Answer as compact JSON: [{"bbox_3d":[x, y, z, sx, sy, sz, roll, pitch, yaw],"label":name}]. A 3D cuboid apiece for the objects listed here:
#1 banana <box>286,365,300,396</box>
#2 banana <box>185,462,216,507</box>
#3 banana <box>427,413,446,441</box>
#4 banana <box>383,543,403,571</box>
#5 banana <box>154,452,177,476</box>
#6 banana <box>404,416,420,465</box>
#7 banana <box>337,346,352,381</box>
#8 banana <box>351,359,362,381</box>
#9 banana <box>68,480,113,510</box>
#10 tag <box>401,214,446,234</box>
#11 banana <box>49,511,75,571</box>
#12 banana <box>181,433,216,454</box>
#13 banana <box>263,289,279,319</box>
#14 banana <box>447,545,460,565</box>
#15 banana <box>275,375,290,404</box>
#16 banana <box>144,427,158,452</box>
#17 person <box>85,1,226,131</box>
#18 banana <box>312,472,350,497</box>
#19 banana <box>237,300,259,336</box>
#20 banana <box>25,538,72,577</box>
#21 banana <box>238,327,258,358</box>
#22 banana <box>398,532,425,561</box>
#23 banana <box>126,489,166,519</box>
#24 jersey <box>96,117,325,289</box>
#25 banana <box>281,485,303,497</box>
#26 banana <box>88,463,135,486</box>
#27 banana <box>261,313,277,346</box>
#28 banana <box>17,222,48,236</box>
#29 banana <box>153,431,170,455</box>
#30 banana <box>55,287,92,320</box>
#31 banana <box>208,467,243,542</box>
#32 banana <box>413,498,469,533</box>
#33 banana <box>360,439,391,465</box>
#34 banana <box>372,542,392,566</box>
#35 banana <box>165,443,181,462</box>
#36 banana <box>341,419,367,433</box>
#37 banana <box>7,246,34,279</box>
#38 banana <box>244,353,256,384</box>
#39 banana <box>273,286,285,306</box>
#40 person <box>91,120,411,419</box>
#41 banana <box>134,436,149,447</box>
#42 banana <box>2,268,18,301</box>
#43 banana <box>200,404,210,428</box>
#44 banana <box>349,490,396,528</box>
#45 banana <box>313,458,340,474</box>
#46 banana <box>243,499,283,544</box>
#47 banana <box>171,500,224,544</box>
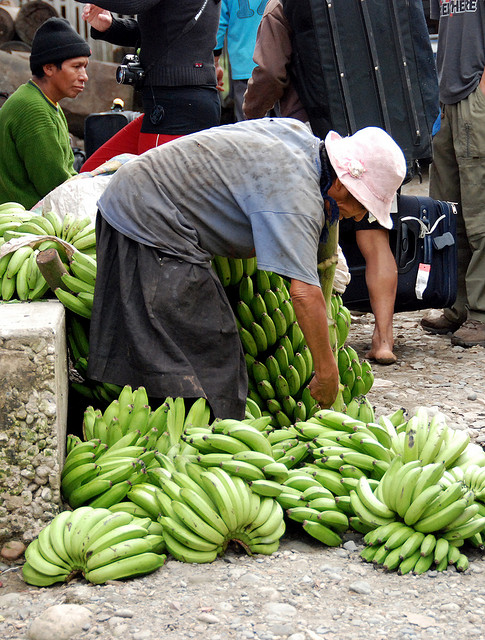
[{"bbox_3d":[0.215,0.254,2.911,0.039,0.135,0.047,9,50,14],"label":"banana"},{"bbox_3d":[-0.141,0.476,2.062,0.154,0.042,0.052,56,13,24],"label":"banana"},{"bbox_3d":[0.631,0.340,2.257,0.038,0.036,0.124,24,33,8],"label":"banana"},{"bbox_3d":[0.421,0.664,1.928,0.073,0.064,0.033,-5,8,-44],"label":"banana"},{"bbox_3d":[-0.243,0.458,2.223,0.030,0.036,0.104,-21,20,-11],"label":"banana"},{"bbox_3d":[0.527,0.371,2.190,0.045,0.155,0.056,13,-29,-1],"label":"banana"},{"bbox_3d":[0.466,0.191,3.209,0.057,0.201,0.070,5,13,29],"label":"banana"},{"bbox_3d":[0.535,0.231,3.206,0.035,0.095,0.032,-12,6,31],"label":"banana"},{"bbox_3d":[-0.473,0.542,2.182,0.059,0.070,0.215,26,-45,-34],"label":"banana"},{"bbox_3d":[1.194,-0.632,4.569,0.336,0.128,0.058,-2,6,-22],"label":"tag"},{"bbox_3d":[-0.499,0.624,1.968,0.051,0.138,0.175,-5,-21,-10],"label":"banana"},{"bbox_3d":[-0.140,0.386,2.169,0.088,0.022,0.065,10,44,-8],"label":"banana"},{"bbox_3d":[0.123,-0.074,2.990,0.043,0.137,0.049,-9,-3,12],"label":"banana"},{"bbox_3d":[0.588,0.658,1.939,0.030,0.019,0.053,24,22,-5],"label":"banana"},{"bbox_3d":[0.171,0.295,2.938,0.040,0.130,0.045,-20,49,-14],"label":"banana"},{"bbox_3d":[-0.305,0.400,2.330,0.034,0.090,0.030,-18,47,-21],"label":"banana"},{"bbox_3d":[-0.468,-1.444,3.870,0.718,0.772,1.249,-1,5,-10],"label":"person"},{"bbox_3d":[0.280,0.527,2.207,0.092,0.024,0.033,33,17,8],"label":"banana"},{"bbox_3d":[0.022,-0.011,3.022,0.045,0.163,0.058,-20,16,20],"label":"banana"},{"bbox_3d":[-0.522,0.645,1.867,0.091,0.029,0.075,30,38,-10],"label":"banana"},{"bbox_3d":[0.029,0.098,2.990,0.055,0.153,0.042,-39,26,-21],"label":"banana"},{"bbox_3d":[0.476,0.626,1.951,0.116,0.037,0.034,-35,-2,-40],"label":"banana"},{"bbox_3d":[-0.288,0.562,2.110,0.133,0.035,0.048,34,31,27],"label":"banana"},{"bbox_3d":[-0.041,-0.438,2.689,0.941,0.692,0.730,3,33,-3],"label":"jersey"},{"bbox_3d":[0.156,0.541,2.193,0.074,0.019,0.025,20,-2,0],"label":"banana"},{"bbox_3d":[-0.404,0.473,2.132,0.127,0.043,0.032,-20,29,-23],"label":"banana"},{"bbox_3d":[0.131,0.045,2.999,0.056,0.155,0.042,-4,28,26],"label":"banana"},{"bbox_3d":[-0.892,-0.386,2.941,0.078,0.025,0.078,17,-15,-33],"label":"banana"},{"bbox_3d":[-0.262,0.413,2.331,0.031,0.089,0.033,-5,20,-23],"label":"banana"},{"bbox_3d":[-0.637,-0.069,2.629,0.137,0.040,0.048,42,13,-25],"label":"banana"},{"bbox_3d":[-0.032,0.519,1.984,0.061,0.244,0.072,-25,-10,-10],"label":"banana"},{"bbox_3d":[0.553,0.544,1.941,0.144,0.029,0.051,-32,-52,31],"label":"banana"},{"bbox_3d":[0.433,0.421,2.237,0.149,0.048,0.045,41,-26,-30],"label":"banana"},{"bbox_3d":[0.382,0.654,1.940,0.028,0.023,0.076,-10,14,19],"label":"banana"},{"bbox_3d":[-0.231,0.449,2.343,0.020,0.022,0.067,42,31,-5],"label":"banana"},{"bbox_3d":[0.381,0.366,2.357,0.040,0.030,0.112,11,-1,-4],"label":"banana"},{"bbox_3d":[-0.854,-0.228,2.716,0.045,0.059,0.158,24,33,-12],"label":"banana"},{"bbox_3d":[0.033,0.212,3.028,0.045,0.134,0.036,-12,-3,-40],"label":"banana"},{"bbox_3d":[0.163,-0.108,3.033,0.027,0.096,0.034,-10,26,31],"label":"banana"},{"bbox_3d":[-0.030,-0.187,2.499,1.126,1.124,0.482,2,6,12],"label":"person"},{"bbox_3d":[-0.327,0.398,2.268,0.025,0.019,0.066,4,-23,-31],"label":"banana"},{"bbox_3d":[-0.887,-0.133,2.661,0.057,0.113,0.097,-2,6,-19],"label":"banana"},{"bbox_3d":[-0.131,0.339,2.440,0.019,0.077,0.019,20,-35,-26],"label":"banana"},{"bbox_3d":[0.385,0.559,2.054,0.107,0.045,0.084,30,-29,-3],"label":"banana"},{"bbox_3d":[0.267,0.486,2.316,0.125,0.030,0.043,25,-16,-24],"label":"banana"},{"bbox_3d":[0.072,0.582,2.015,0.031,0.080,0.110,-6,-27,-43],"label":"banana"},{"bbox_3d":[-0.122,0.569,1.943,0.151,0.041,0.051,42,3,15],"label":"banana"}]
